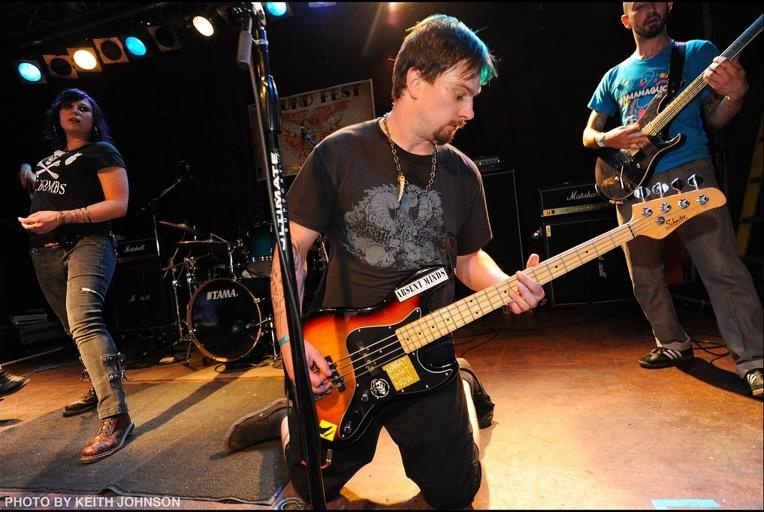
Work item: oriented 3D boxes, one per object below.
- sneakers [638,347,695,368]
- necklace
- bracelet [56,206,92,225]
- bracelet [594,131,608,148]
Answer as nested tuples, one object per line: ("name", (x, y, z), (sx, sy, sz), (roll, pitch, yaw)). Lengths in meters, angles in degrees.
("sneakers", (2.405, 0.854, 4.353), (0.467, 0.210, 0.187), (-3, -4, 7))
("necklace", (0.151, -0.656, 3.417), (0.370, 0.573, 0.136), (-11, 2, -15))
("bracelet", (-2.512, -0.310, 4.117), (0.238, 0.093, 0.085), (-13, 10, -22))
("bracelet", (1.878, -0.984, 4.292), (0.031, 0.118, 0.118), (0, 42, 44))
